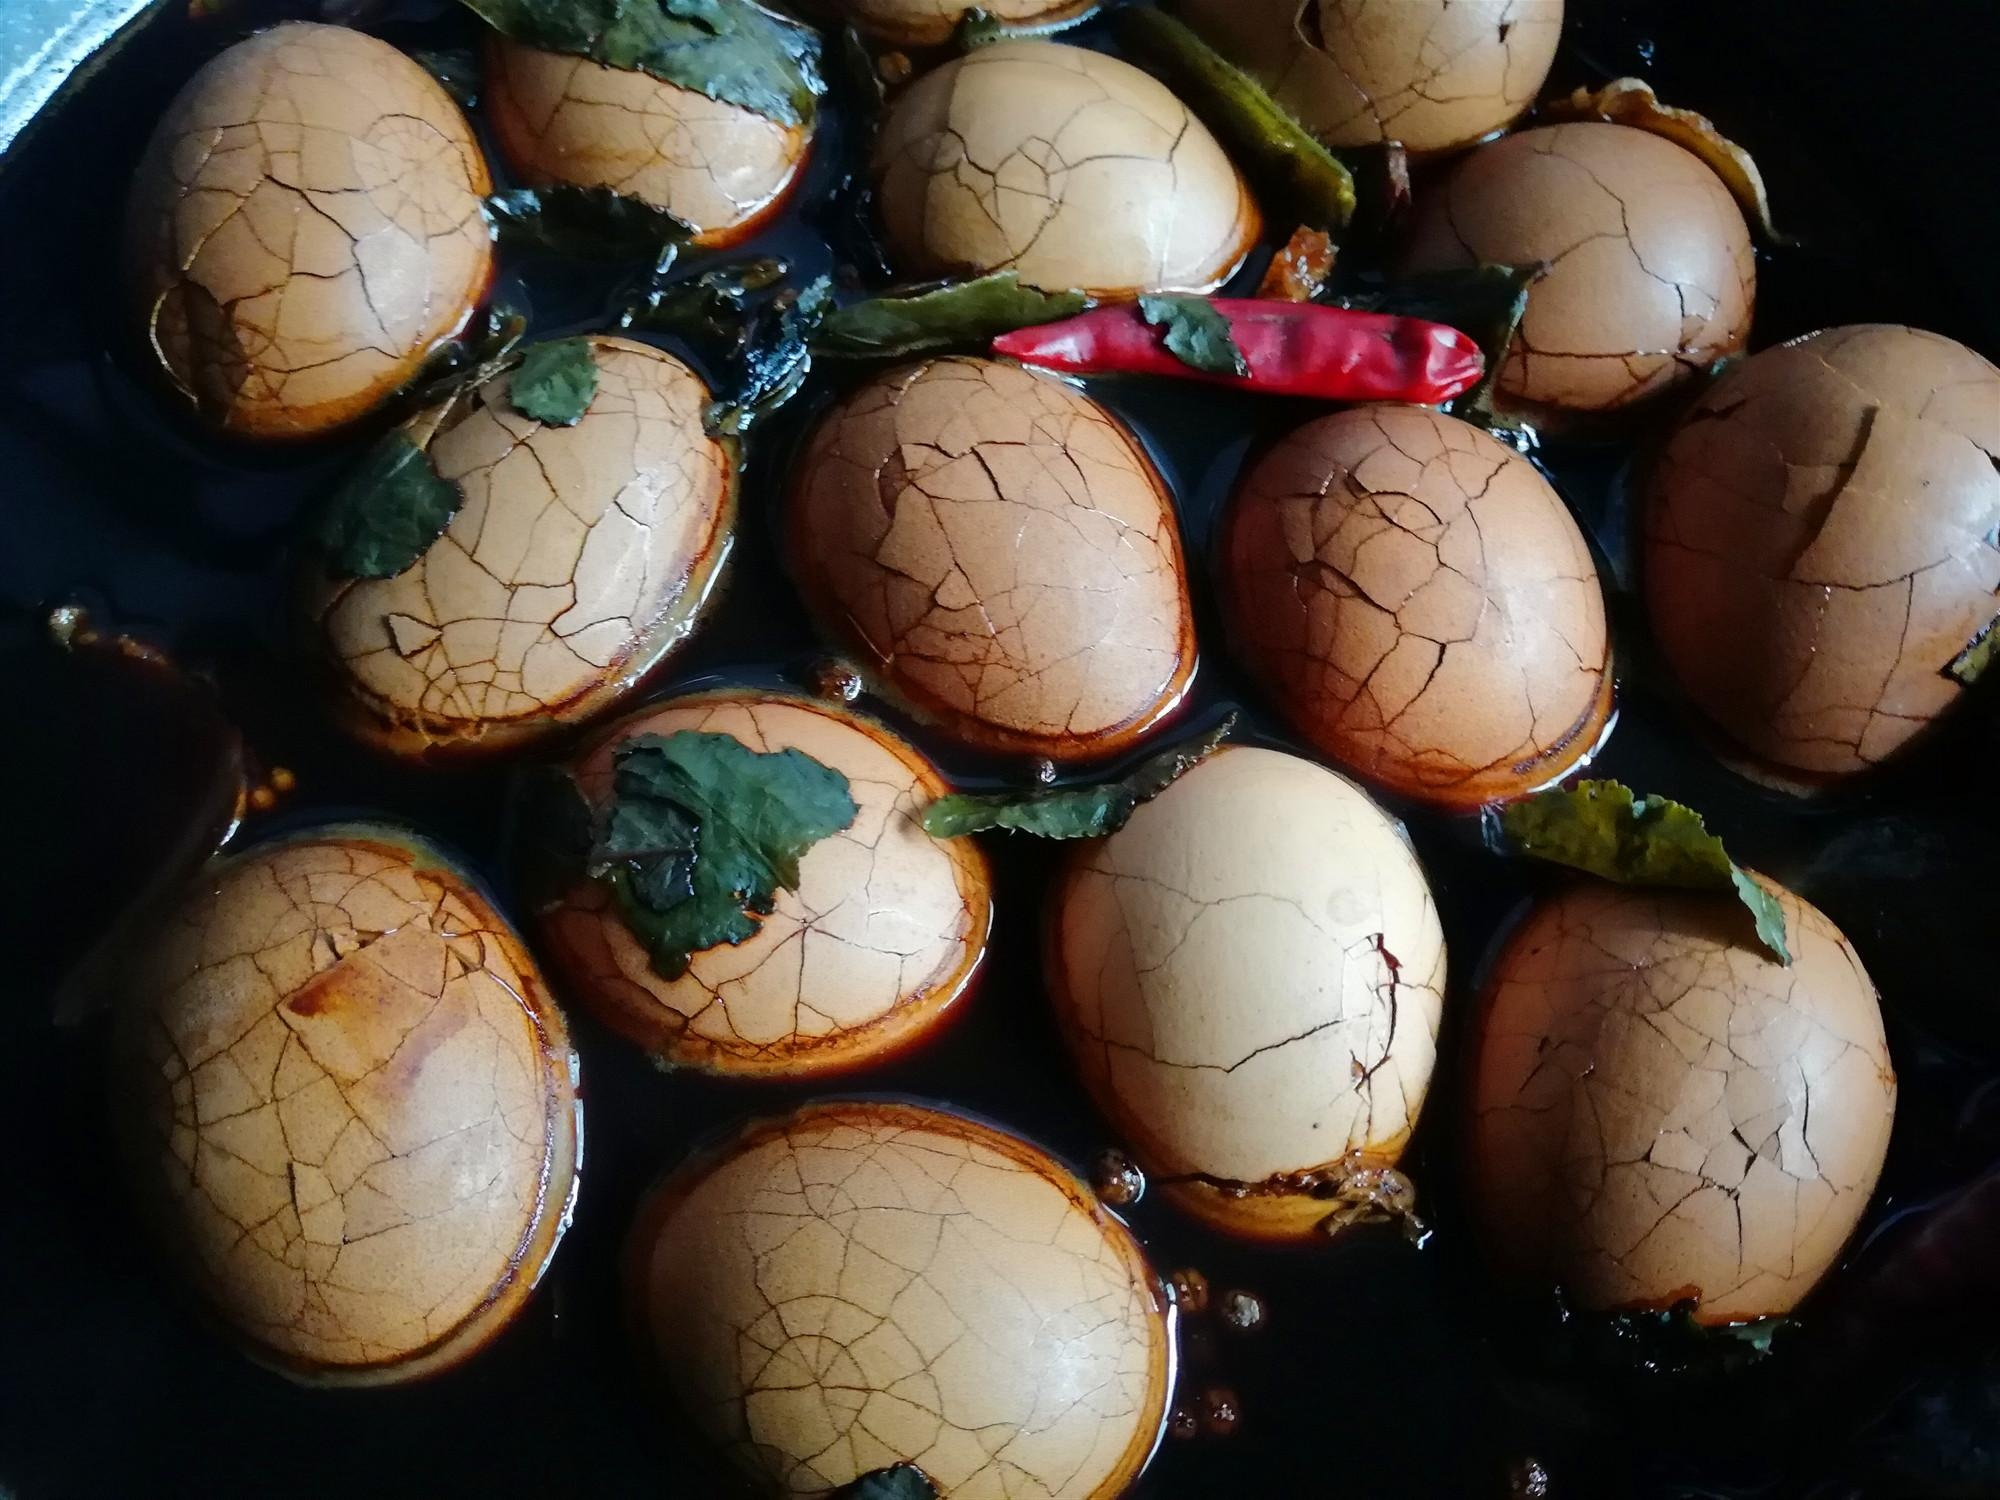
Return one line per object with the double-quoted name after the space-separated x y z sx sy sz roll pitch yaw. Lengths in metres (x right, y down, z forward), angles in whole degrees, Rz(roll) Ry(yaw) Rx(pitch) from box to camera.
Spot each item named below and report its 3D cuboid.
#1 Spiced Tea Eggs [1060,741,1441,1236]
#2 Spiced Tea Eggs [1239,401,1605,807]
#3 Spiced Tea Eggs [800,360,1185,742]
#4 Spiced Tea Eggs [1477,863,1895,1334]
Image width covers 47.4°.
0.251 0.243 2.386 0.414 0.249 0.405 12 55 1 "Spiced Tea Eggs"
0.467 -0.158 2.489 0.466 0.222 0.331 17 55 3 "Spiced Tea Eggs"
-0.006 -0.214 2.472 0.476 0.198 0.340 14 55 1 "Spiced Tea Eggs"
0.660 0.345 2.481 0.386 0.415 0.614 2 41 0 "Spiced Tea Eggs"
